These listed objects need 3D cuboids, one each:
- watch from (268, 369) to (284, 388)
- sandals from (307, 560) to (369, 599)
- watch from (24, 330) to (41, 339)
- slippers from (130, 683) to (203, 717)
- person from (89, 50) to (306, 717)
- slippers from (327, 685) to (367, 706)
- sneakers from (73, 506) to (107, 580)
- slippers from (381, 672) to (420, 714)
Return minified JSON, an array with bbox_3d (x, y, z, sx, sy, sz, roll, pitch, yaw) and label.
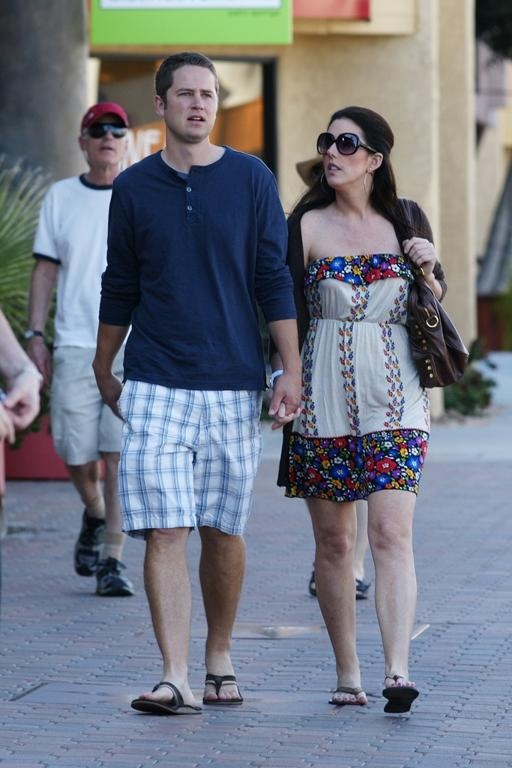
[{"bbox_3d":[0.058,-0.017,3.997,0.042,0.055,0.028,5,-12,8],"label":"watch"},{"bbox_3d":[0.357,0.817,5.625,0.133,0.159,0.358,-1,-14,5],"label":"sandals"},{"bbox_3d":[-0.960,-0.211,5.804,0.058,0.034,0.059,4,5,29],"label":"watch"},{"bbox_3d":[-0.248,0.891,3.832,0.085,0.075,0.205,-7,-14,36],"label":"slippers"},{"bbox_3d":[-0.157,0.066,3.966,0.591,1.995,0.782,-2,15,-7],"label":"person"},{"bbox_3d":[0.272,0.914,3.959,0.113,0.059,0.066,1,15,3],"label":"slippers"},{"bbox_3d":[-0.707,0.678,5.841,0.097,0.317,0.143,1,-1,-5],"label":"sneakers"},{"bbox_3d":[0.390,0.844,3.702,0.061,0.043,0.144,3,-33,-2],"label":"slippers"}]
